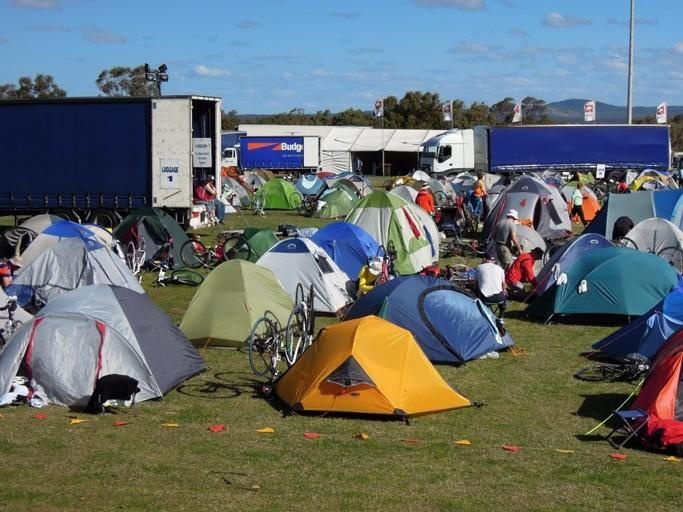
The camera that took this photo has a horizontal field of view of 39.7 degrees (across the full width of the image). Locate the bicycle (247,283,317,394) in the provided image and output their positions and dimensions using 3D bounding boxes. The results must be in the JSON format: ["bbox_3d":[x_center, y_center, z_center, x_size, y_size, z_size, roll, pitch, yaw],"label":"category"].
[{"bbox_3d":[-0.966,1.422,16.367,0.819,1.135,1.995,-19,13,31],"label":"bicycle"}]

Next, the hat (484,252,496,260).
[{"bbox_3d":[2.982,-0.004,19.021,0.171,0.130,0.251,6,-1,6],"label":"hat"}]

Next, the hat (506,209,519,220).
[{"bbox_3d":[4.509,-1.103,25.076,0.346,0.203,0.377,24,-6,8],"label":"hat"}]

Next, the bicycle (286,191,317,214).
[{"bbox_3d":[-1.573,-2.149,38.862,0.910,0.876,1.379,-5,-8,41],"label":"bicycle"}]

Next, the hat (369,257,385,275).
[{"bbox_3d":[0.758,0.183,19.877,0.265,0.357,0.360,1,-2,2],"label":"hat"}]

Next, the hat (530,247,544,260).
[{"bbox_3d":[4.716,-0.071,22.791,0.173,0.298,0.376,-28,-5,-9],"label":"hat"}]

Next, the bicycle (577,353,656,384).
[{"bbox_3d":[4.705,1.962,16.423,1.135,0.706,0.510,-3,8,3],"label":"bicycle"}]

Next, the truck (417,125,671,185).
[{"bbox_3d":[10.228,-4.999,47.377,12.104,3.542,2.611,-2,11,-12],"label":"truck"}]

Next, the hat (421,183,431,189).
[{"bbox_3d":[3.188,-2.650,35.702,0.441,0.153,0.483,-1,3,-5],"label":"hat"}]
